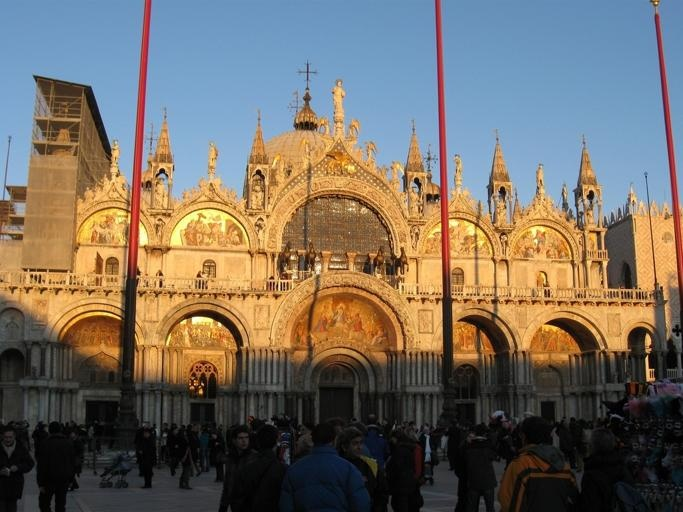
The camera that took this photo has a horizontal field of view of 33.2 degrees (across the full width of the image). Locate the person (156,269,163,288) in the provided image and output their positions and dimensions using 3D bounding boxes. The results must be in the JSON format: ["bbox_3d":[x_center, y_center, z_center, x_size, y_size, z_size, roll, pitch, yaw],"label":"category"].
[{"bbox_3d":[-10.033,1.222,63.057,0.398,1.308,1.514,1,-14,-9],"label":"person"}]

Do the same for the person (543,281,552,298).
[{"bbox_3d":[11.891,1.925,66.478,0.450,0.898,0.177,-2,-1,17],"label":"person"}]

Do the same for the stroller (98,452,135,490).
[{"bbox_3d":[-8.141,7.740,42.180,1.266,1.396,1.035,-1,10,7],"label":"stroller"}]

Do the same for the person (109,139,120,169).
[{"bbox_3d":[-12.950,-5.912,65.481,0.336,1.537,0.339,5,-14,-23],"label":"person"}]
